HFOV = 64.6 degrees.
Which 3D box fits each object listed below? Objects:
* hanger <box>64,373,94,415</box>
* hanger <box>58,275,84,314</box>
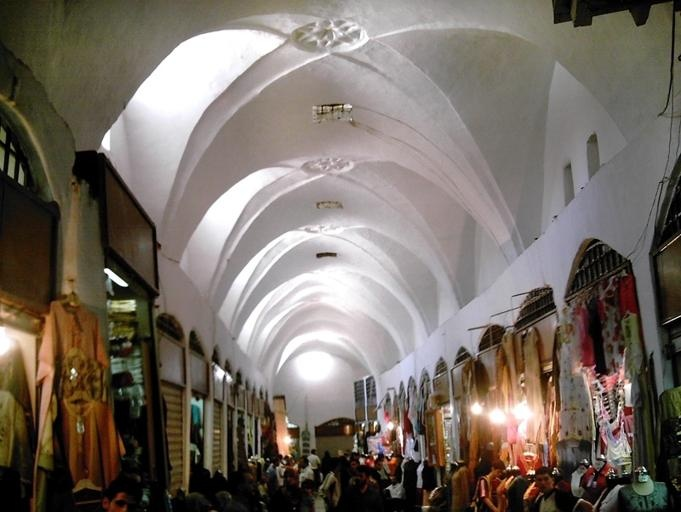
[{"bbox_3d":[-2.028,1.073,4.155,0.076,0.261,0.164,-3,-1,33],"label":"hanger"},{"bbox_3d":[-2.085,0.302,4.147,0.102,0.230,0.088,-8,-4,-27],"label":"hanger"}]
